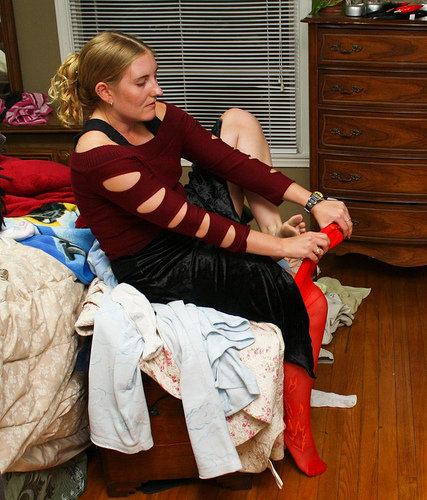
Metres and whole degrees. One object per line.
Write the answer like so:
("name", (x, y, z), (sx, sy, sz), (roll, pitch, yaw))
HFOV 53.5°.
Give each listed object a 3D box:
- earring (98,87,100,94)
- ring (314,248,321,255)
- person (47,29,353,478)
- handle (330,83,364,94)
("earring", (-0.286, -0.386, 1.040), (0.003, 0.011, 0.007), (-17, 24, -26))
("ring", (0.267, 0.005, 1.080), (0.013, 0.012, 0.004), (-3, 21, -39))
("person", (0.036, -0.042, 1.228), (0.760, 1.045, 0.565), (21, 47, 29))
("handle", (0.613, -0.737, 1.943), (0.146, 0.049, 0.020), (2, 23, 17))
